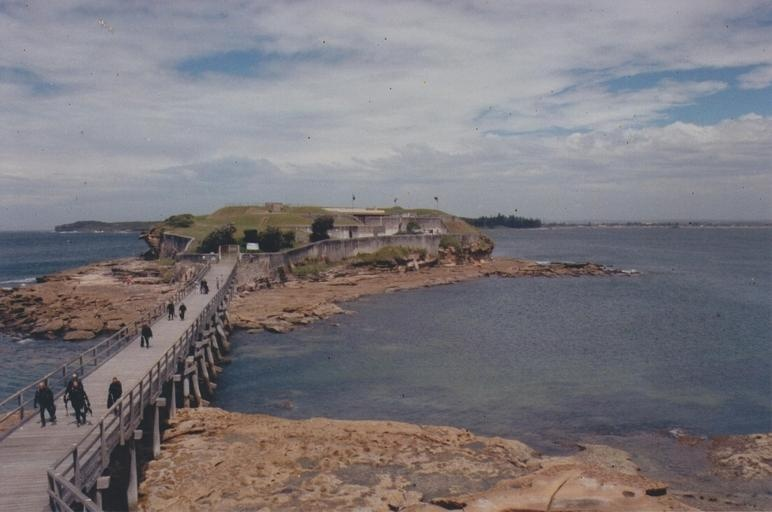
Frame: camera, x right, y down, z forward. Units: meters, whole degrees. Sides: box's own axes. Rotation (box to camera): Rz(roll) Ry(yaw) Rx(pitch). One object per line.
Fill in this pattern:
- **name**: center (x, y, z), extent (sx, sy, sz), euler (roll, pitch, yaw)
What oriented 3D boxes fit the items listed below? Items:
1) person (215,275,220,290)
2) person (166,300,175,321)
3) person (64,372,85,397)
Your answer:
- **person**: center (-20.608, 3.362, 78.870), extent (0.567, 1.533, 1.561), euler (-4, 6, -22)
- **person**: center (-20.269, 5.221, 60.808), extent (0.618, 1.516, 1.497), euler (-2, 13, -18)
- **person**: center (-20.397, 8.573, 42.301), extent (1.102, 1.527, 1.547), euler (-5, 13, -27)
